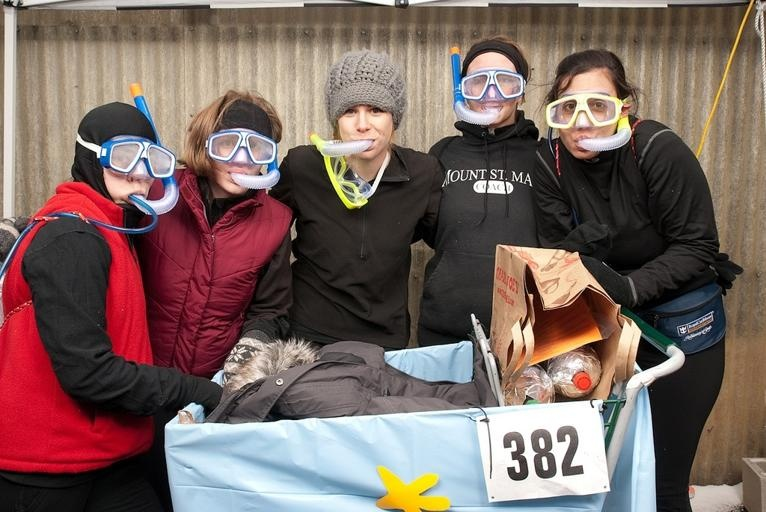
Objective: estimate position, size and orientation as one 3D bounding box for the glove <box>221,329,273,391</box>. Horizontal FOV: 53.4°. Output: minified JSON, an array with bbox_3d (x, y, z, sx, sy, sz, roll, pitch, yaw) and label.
[{"bbox_3d":[-0.504,0.392,2.849,0.141,0.066,0.204,-8,38,15],"label":"glove"}]

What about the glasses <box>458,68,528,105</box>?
[{"bbox_3d":[0.470,-0.728,3.329,0.207,0.110,0.142,0,-1,1],"label":"glasses"}]

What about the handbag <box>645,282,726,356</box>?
[{"bbox_3d":[1.298,0.259,3.275,0.285,0.212,0.304,-22,6,3],"label":"handbag"}]

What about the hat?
[{"bbox_3d":[-0.065,-0.715,3.307,0.263,0.294,0.334,-2,1,2],"label":"hat"}]
